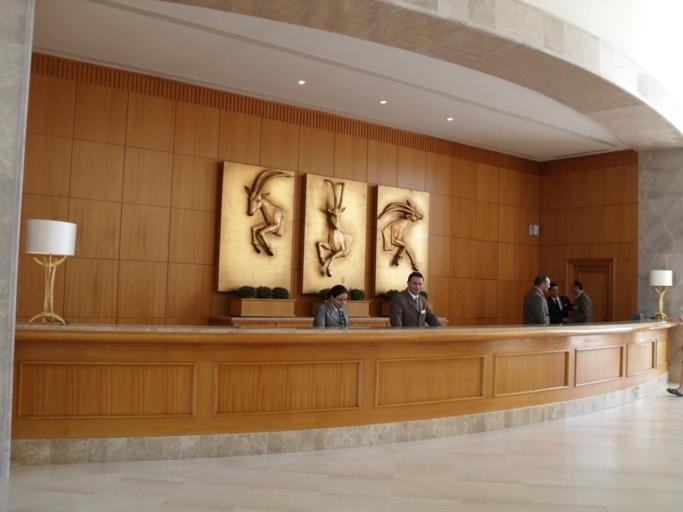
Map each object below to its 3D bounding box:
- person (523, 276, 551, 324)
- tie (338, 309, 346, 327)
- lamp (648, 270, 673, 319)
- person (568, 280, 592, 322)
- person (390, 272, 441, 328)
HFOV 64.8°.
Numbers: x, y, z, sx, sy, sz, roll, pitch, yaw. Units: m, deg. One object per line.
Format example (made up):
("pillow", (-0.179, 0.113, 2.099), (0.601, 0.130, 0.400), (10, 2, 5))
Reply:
("person", (2.915, 0.658, 8.053), (0.353, 0.722, 0.952), (2, -1, 19))
("tie", (0.007, 0.753, 6.510), (0.116, 0.164, 0.038), (-4, -6, -26))
("lamp", (6.615, 0.756, 11.152), (0.436, 1.012, 1.002), (1, -1, 31))
("person", (4.472, 0.861, 10.060), (0.314, 0.770, 0.578), (1, -1, 23))
("person", (0.933, 0.545, 6.736), (0.515, 0.696, 0.741), (1, -1, 35))
